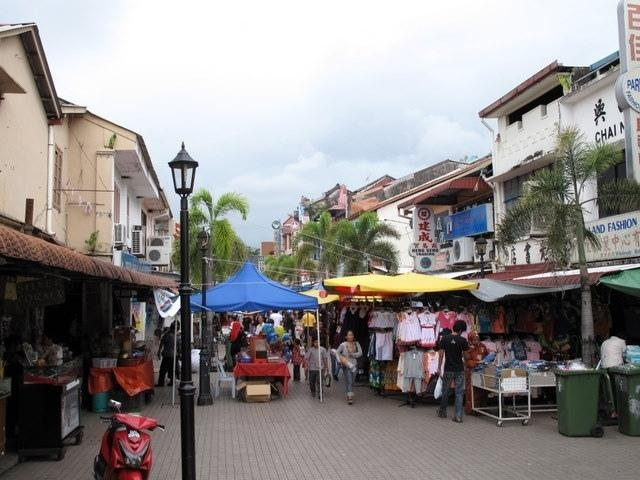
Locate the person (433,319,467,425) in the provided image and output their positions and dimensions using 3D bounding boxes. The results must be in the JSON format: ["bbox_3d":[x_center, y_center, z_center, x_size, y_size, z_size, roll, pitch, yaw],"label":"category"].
[{"bbox_3d":[3.130,3.167,14.283,0.658,2.207,0.863,0,-2,-5],"label":"person"}]

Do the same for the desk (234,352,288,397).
[{"bbox_3d":[-1.630,3.878,17.343,1.304,1.148,1.331,2,-3,-7],"label":"desk"}]

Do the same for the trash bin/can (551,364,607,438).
[{"bbox_3d":[5.474,3.360,12.786,0.793,1.369,0.980,-1,0,1],"label":"trash bin/can"}]

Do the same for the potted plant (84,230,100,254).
[{"bbox_3d":[-7.569,0.097,19.634,0.513,0.931,0.544,2,-1,-8],"label":"potted plant"}]

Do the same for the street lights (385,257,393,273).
[{"bbox_3d":[4.332,1.544,37.334,0.192,0.785,0.763,-9,10,-30],"label":"street lights"}]

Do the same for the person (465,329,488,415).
[{"bbox_3d":[3.770,3.193,14.824,0.491,2.038,0.714,-1,3,-5],"label":"person"}]

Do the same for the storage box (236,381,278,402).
[{"bbox_3d":[-1.850,4.302,17.251,0.783,0.420,0.649,0,-4,-3],"label":"storage box"}]

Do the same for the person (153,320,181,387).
[{"bbox_3d":[-4.867,3.686,19.308,1.039,2.830,1.047,0,0,-17],"label":"person"}]

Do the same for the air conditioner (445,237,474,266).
[{"bbox_3d":[6.264,0.917,26.966,0.835,1.590,1.741,3,-7,-9],"label":"air conditioner"}]

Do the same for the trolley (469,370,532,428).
[{"bbox_3d":[4.348,3.716,14.461,1.416,1.249,2.198,-3,-12,7],"label":"trolley"}]

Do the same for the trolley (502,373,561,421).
[{"bbox_3d":[4.955,3.689,14.200,1.106,0.888,0.695,1,-11,-6],"label":"trolley"}]
